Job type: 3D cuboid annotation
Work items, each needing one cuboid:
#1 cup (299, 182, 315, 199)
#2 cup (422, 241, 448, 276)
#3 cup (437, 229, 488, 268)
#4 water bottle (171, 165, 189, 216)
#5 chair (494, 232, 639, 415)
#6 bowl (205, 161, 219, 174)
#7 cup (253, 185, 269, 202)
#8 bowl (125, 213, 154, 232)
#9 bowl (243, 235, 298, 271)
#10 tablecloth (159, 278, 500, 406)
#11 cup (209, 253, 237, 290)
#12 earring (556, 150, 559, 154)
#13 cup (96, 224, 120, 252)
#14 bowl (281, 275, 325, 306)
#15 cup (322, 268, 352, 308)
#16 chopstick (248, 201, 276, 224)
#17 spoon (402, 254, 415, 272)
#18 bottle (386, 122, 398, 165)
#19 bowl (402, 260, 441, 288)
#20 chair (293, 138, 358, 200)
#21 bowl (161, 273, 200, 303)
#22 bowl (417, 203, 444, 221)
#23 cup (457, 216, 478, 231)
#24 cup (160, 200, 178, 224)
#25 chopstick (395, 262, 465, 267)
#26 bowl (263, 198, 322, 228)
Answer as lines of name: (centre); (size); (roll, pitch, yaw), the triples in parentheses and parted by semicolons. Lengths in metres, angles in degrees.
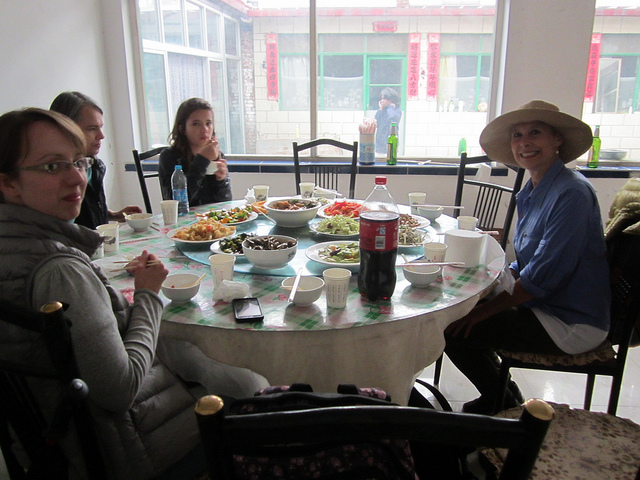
cup: (-0.093, -0.311, 2.748); (0.099, 0.071, 0.096); (0, 10, 0)
cup: (0.435, 0.072, 1.767); (0.123, 0.127, 0.116); (-1, 10, 0)
cup: (0.597, 0.030, 1.791); (0.176, 0.122, 0.165); (0, 11, 0)
water bottle: (-0.803, -0.296, 2.520); (0.082, 0.261, 0.341); (-7, 15, -17)
chair: (1.017, 0.362, 1.842); (0.482, 0.792, 0.342); (4, 16, 21)
bowl: (-0.681, -0.462, 2.788); (0.077, 0.052, 0.074); (1, 20, -1)
cup: (-0.369, -0.286, 2.719); (0.101, 0.078, 0.103); (-1, 8, 0)
bowl: (-0.900, -0.095, 2.211); (0.108, 0.055, 0.104); (0, 4, 0)
bowl: (-0.201, 0.039, 1.670); (0.155, 0.065, 0.152); (-1, 12, 0)
tablecloth: (-0.007, 0.394, 1.451); (1.020, 0.346, 0.337); (-5, 15, -11)
cup: (-0.347, 0.103, 1.567); (0.118, 0.120, 0.121); (0, 7, 0)
earring: (1.112, -0.414, 2.067); (0.011, 0.010, 0.011); (7, 24, 33)
cup: (-0.904, -0.014, 1.923); (0.118, 0.118, 0.117); (-1, 3, 0)
bowl: (-0.057, 0.151, 1.469); (0.107, 0.058, 0.106); (0, 11, 0)
cup: (0.045, 0.169, 1.441); (0.104, 0.094, 0.102); (-3, -7, 0)
chopstick: (-0.307, -0.143, 2.310); (0.247, 0.018, 0.025); (32, 61, 26)
spoon: (0.322, 0.085, 1.624); (0.026, 0.053, 0.029); (-30, -2, 27)
bottle: (0.668, -0.910, 4.121); (0.098, 0.381, 0.232); (0, 15, 9)
bowl: (0.354, 0.114, 1.552); (0.095, 0.053, 0.092); (-2, 14, 1)
chair: (0.034, -0.600, 3.790); (0.507, 0.552, 1.402); (-1, 14, 2)
bowl: (-0.475, 0.168, 1.496); (0.137, 0.077, 0.137); (6, 18, -2)
bowl: (0.589, -0.153, 2.359); (0.090, 0.049, 0.087); (-1, 16, 0)
cup: (0.714, -0.080, 2.119); (0.076, 0.052, 0.073); (0, 9, 0)
cup: (-0.765, -0.145, 2.233); (0.116, 0.117, 0.110); (1, 9, 0)
chopstick: (0.397, 0.087, 1.615); (0.206, 0.020, 0.010); (3, 33, -8)
bowl: (-0.147, -0.143, 2.162); (0.190, 0.065, 0.188); (-1, 10, 0)
